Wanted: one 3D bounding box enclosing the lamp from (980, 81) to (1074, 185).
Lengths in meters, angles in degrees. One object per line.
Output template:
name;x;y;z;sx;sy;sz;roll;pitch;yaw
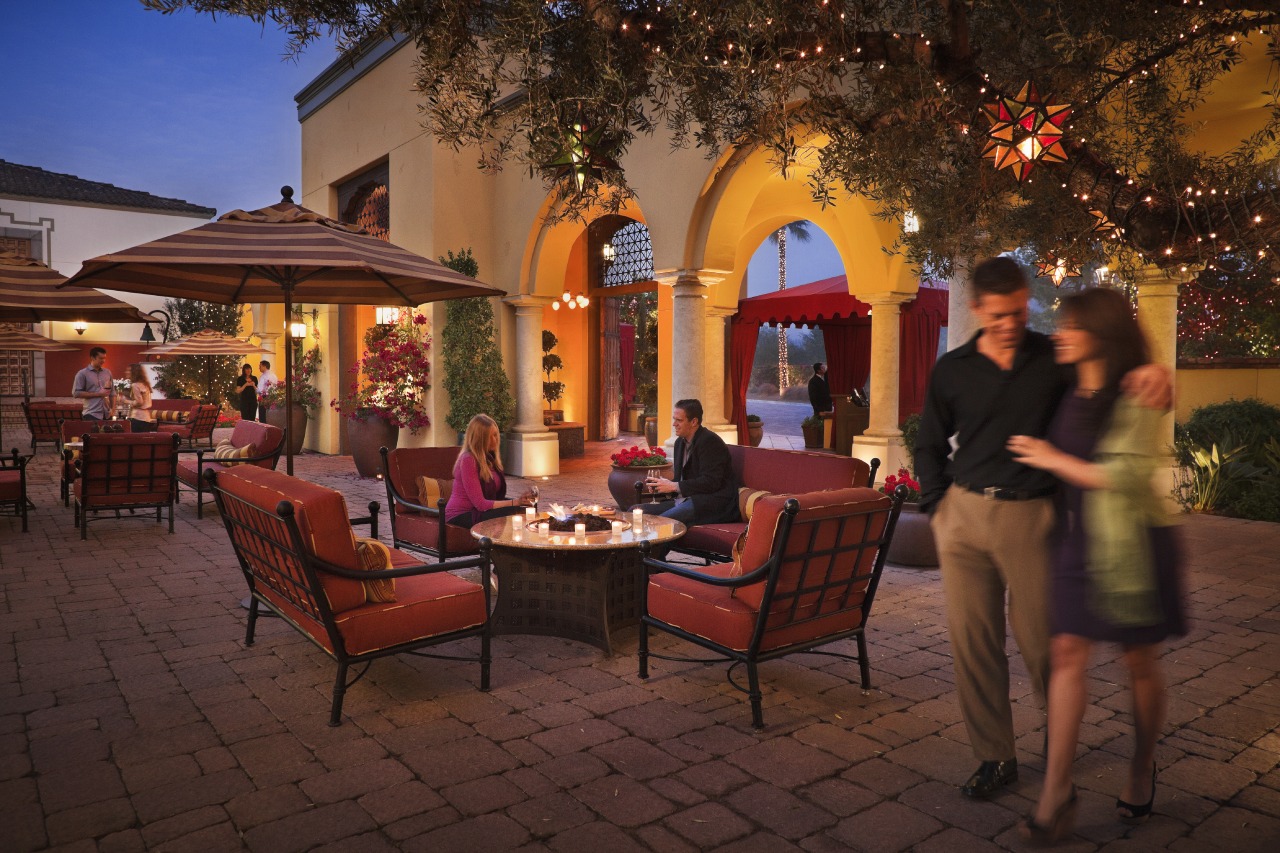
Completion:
lamp;2.655;-2.028;5.879;0.543;0.505;0.506;5;15;31

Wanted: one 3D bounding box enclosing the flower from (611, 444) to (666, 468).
flower;0.027;0.360;9.858;0.376;0.181;0.361;0;-2;-29

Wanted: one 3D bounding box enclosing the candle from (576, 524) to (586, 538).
candle;-0.451;0.798;6.448;0.080;0.103;0.076;-3;7;-19

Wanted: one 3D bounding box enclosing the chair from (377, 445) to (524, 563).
chair;-1.665;0.582;7.895;1.196;1.060;1.070;-1;2;-40

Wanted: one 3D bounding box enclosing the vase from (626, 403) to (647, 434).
vase;-0.117;-0.209;22.621;0.436;0.631;1.051;0;12;1

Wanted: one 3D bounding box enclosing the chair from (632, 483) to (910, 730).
chair;0.884;1.105;5.819;1.364;1.321;1.648;-2;-1;-44

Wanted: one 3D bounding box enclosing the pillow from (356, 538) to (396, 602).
pillow;-1.655;0.911;5.360;0.145;0.337;0.350;-14;-9;-15

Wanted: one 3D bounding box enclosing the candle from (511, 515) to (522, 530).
candle;-0.954;0.752;6.629;0.092;0.097;0.089;-2;5;-33

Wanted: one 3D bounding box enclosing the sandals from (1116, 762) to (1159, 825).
sandals;2.702;1.994;4.624;0.154;0.171;0.461;-6;-7;42

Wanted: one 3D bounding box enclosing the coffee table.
coffee table;-0.540;1.144;6.407;1.156;0.550;1.124;0;0;-43

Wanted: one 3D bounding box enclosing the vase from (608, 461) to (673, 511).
vase;-0.109;0.649;9.453;0.547;0.368;0.557;2;2;40

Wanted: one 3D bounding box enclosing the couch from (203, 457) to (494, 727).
couch;-2.157;1.056;6.240;1.458;1.329;2.346;-1;4;-41

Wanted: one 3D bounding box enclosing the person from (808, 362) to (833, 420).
person;3.943;-0.740;18.427;0.476;1.287;2.048;3;12;12

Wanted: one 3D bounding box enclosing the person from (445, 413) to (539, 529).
person;-1.304;0.423;7.441;0.833;0.964;0.900;6;8;6

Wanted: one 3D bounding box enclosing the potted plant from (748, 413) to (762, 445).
potted plant;2.280;0.120;17.123;0.222;0.597;0.791;4;12;17

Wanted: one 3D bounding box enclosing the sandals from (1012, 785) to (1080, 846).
sandals;2.113;1.935;4.330;0.150;0.424;0.149;52;-7;-37

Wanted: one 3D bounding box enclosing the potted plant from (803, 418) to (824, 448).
potted plant;3.714;0.120;18.188;0.670;0.685;0.545;1;6;17
